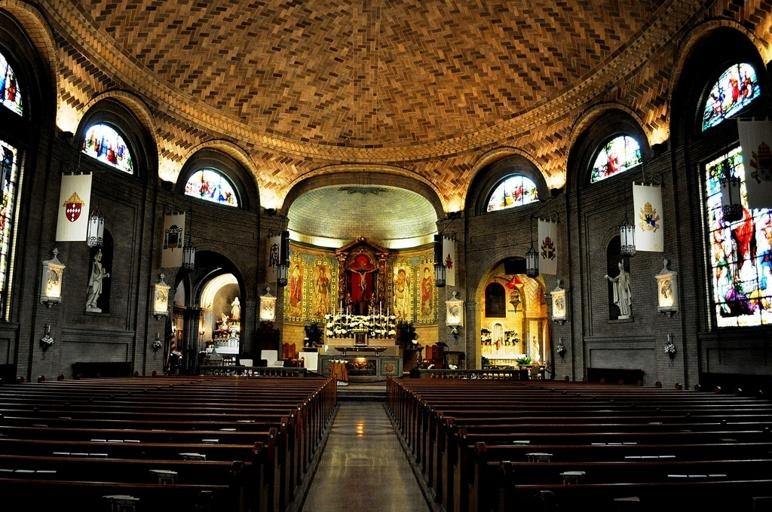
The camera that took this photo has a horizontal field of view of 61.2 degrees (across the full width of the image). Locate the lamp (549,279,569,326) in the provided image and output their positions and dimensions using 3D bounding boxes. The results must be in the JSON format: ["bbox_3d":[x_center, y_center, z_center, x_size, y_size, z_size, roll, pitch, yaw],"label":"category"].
[{"bbox_3d":[6.101,1.612,23.012,0.195,1.547,0.819,6,-14,-28],"label":"lamp"}]

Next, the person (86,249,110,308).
[{"bbox_3d":[-9.345,0.822,21.086,0.334,2.107,0.852,-4,-13,13],"label":"person"}]

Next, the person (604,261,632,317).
[{"bbox_3d":[7.650,1.124,21.116,0.417,1.903,1.039,5,-14,-25],"label":"person"}]

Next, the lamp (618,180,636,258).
[{"bbox_3d":[7.369,-0.836,19.867,0.420,1.738,1.866,-5,-13,20],"label":"lamp"}]

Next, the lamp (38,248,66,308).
[{"bbox_3d":[-9.509,0.593,18.587,0.418,1.644,0.700,-4,-13,16],"label":"lamp"}]

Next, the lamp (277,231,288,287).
[{"bbox_3d":[-4.048,0.076,25.563,0.393,2.115,0.496,3,-13,-17],"label":"lamp"}]

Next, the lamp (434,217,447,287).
[{"bbox_3d":[2.099,0.143,25.321,0.426,2.008,0.816,-2,-12,7],"label":"lamp"}]

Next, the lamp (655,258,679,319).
[{"bbox_3d":[8.126,0.921,18.837,0.250,1.665,0.716,5,-13,-24],"label":"lamp"}]

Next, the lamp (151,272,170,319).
[{"bbox_3d":[-7.916,1.405,23.039,0.262,1.538,0.793,-5,-13,19],"label":"lamp"}]

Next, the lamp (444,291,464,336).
[{"bbox_3d":[2.807,2.308,26.302,0.769,1.785,0.361,-5,-13,16],"label":"lamp"}]

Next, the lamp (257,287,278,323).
[{"bbox_3d":[-4.731,1.946,26.196,0.758,1.427,0.309,5,-13,-24],"label":"lamp"}]
